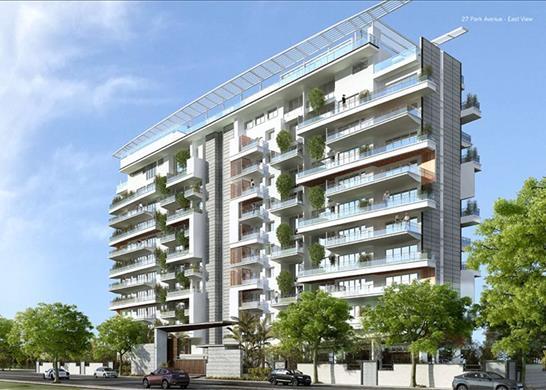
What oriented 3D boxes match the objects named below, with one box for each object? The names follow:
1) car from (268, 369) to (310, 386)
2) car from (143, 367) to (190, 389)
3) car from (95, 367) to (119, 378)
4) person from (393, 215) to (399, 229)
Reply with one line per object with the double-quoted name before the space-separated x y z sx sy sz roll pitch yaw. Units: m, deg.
"car" 1.511 19.767 98.843 3.794 1.319 1.894 -17 -23 41
"car" -11.215 18.888 94.263 4.854 2.420 1.363 -11 -21 24
"car" -22.425 23.363 120.762 1.460 1.086 3.381 13 -24 -35
"person" 14.179 3.003 105.951 0.706 1.893 1.400 -4 -19 7
